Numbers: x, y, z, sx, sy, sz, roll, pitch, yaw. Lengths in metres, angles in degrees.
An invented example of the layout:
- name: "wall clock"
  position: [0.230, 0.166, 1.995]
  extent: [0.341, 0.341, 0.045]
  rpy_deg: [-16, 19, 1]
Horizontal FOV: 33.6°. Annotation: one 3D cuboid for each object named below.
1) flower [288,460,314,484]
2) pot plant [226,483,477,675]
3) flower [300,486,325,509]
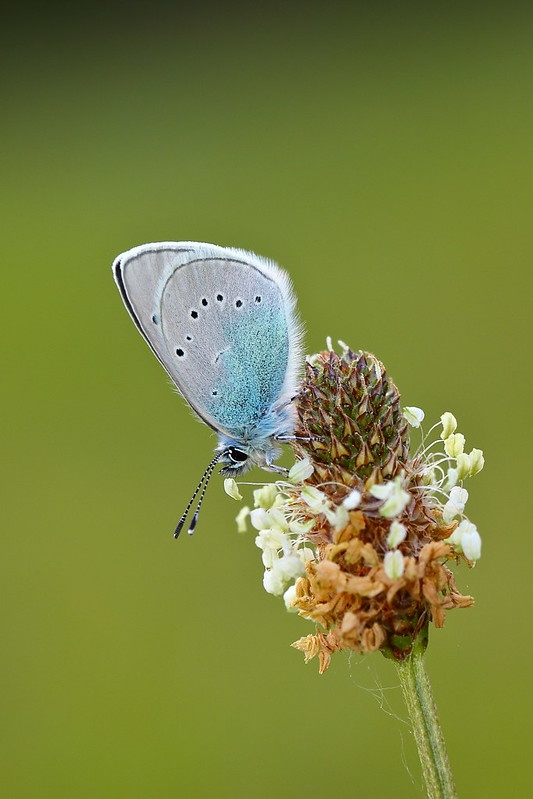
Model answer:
- name: "flower"
  position: [0.099, 0.210, 2.544]
  extent: [0.072, 0.065, 0.091]
  rpy_deg: [-3, -7, 2]
- name: "pot plant"
  position: [0.261, 0.428, 2.554]
  extent: [0.604, 0.533, 0.584]
  rpy_deg: [-12, -27, 6]
- name: "flower"
  position: [0.129, 0.277, 2.480]
  extent: [0.050, 0.064, 0.023]
  rpy_deg: [-40, -25, -36]
